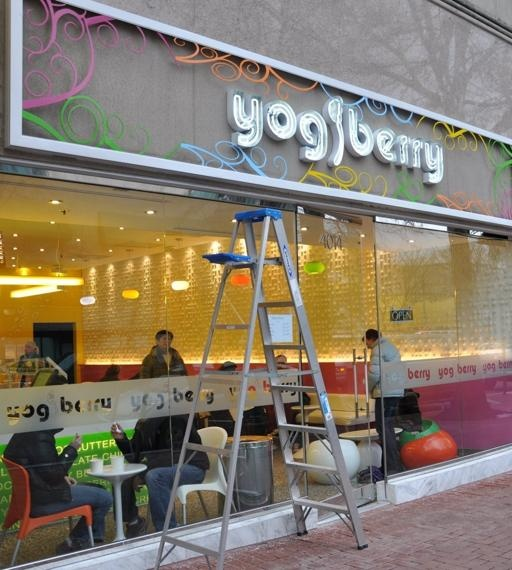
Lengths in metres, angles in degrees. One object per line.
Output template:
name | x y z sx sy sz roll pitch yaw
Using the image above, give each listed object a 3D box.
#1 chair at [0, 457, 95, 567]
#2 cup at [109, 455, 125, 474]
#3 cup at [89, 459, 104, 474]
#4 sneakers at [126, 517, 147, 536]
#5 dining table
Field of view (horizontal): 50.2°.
chair | -1.341 1.341 3.401 0.650 0.700 0.452 1 -10 -29
cup | -0.965 1.251 3.813 0.105 0.104 0.119 -1 -11 3
cup | -1.078 1.227 3.698 0.085 0.073 0.095 -3 -14 11
sneakers | -0.846 1.722 3.869 0.063 0.172 0.079 11 -5 24
dining table | -0.975 1.458 3.885 0.500 0.572 0.466 1 -4 -23
